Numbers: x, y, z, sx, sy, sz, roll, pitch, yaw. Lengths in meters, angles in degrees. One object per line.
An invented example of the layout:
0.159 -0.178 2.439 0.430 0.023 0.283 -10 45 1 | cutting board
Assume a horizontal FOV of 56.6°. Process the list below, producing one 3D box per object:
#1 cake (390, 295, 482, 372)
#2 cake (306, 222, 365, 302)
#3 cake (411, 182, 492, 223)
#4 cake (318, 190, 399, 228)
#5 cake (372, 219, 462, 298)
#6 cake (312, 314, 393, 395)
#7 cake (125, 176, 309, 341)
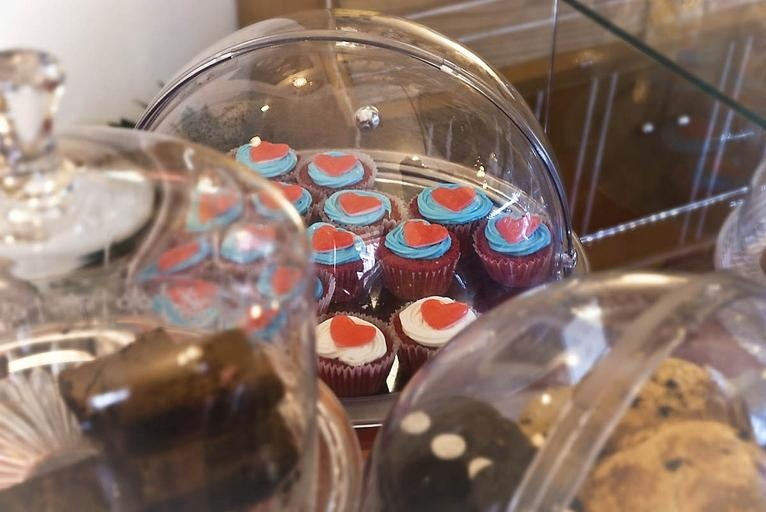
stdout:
0.110 0.158 1.562 0.157 0.114 0.160 23 39 39 | cake
-0.101 0.002 1.678 0.139 0.146 0.163 1 28 1 | cake
0.187 -0.127 1.837 0.263 0.064 0.264 -3 -5 34 | cake
-0.066 -0.144 1.828 0.154 0.052 0.163 -7 19 -32 | cake
0.085 -0.003 1.778 0.201 0.170 0.210 7 38 11 | cake
-0.058 0.209 1.524 0.149 0.113 0.159 5 26 -1 | cake
-0.270 -0.001 1.116 0.429 0.256 0.056 4 22 37 | cake
